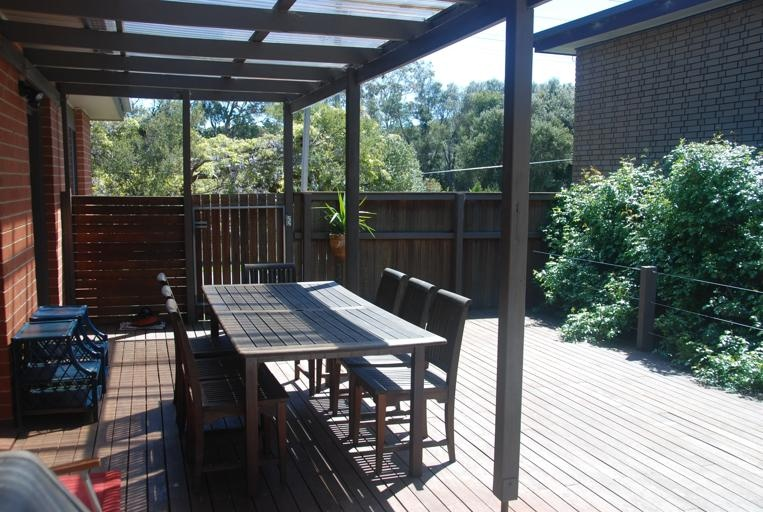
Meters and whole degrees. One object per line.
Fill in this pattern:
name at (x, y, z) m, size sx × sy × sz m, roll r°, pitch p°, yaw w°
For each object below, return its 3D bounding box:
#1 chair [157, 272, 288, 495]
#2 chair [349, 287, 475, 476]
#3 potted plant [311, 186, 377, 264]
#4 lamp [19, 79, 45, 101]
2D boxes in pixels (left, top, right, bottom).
chair at (-1.312, 1.094, 4.549) m, size 0.532 × 0.851 × 1.328 m, roll -4°, pitch 18°, yaw -20°
chair at (0.206, 0.948, 5.105) m, size 1.241 × 2.050 × 1.165 m, roll 1°, pitch 4°, yaw -22°
potted plant at (-0.415, -0.409, 7.907) m, size 0.923 × 1.013 × 1.027 m, roll -1°, pitch 8°, yaw -20°
lamp at (-3.881, -1.827, 6.004) m, size 0.227 × 0.115 × 0.229 m, roll 16°, pitch 7°, yaw 37°
